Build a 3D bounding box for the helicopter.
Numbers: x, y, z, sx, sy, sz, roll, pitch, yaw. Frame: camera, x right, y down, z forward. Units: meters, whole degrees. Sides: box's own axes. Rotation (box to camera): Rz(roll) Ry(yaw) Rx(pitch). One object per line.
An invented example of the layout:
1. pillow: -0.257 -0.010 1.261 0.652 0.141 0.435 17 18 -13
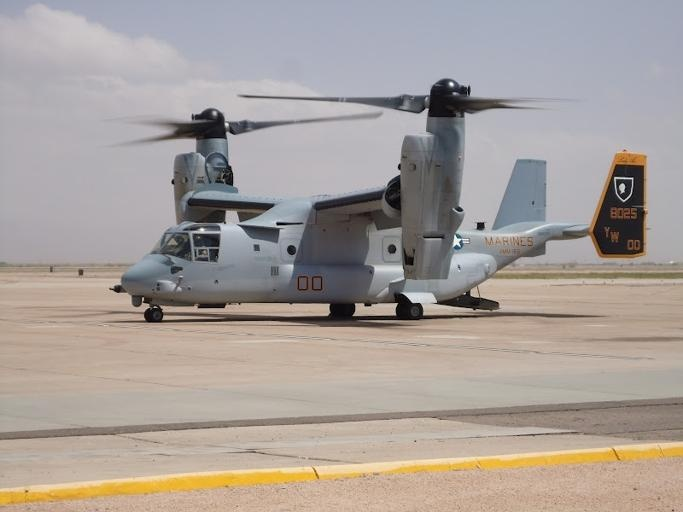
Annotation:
1. helicopter: 0.834 -0.653 29.485 15.025 4.390 14.042 -5 -4 32
